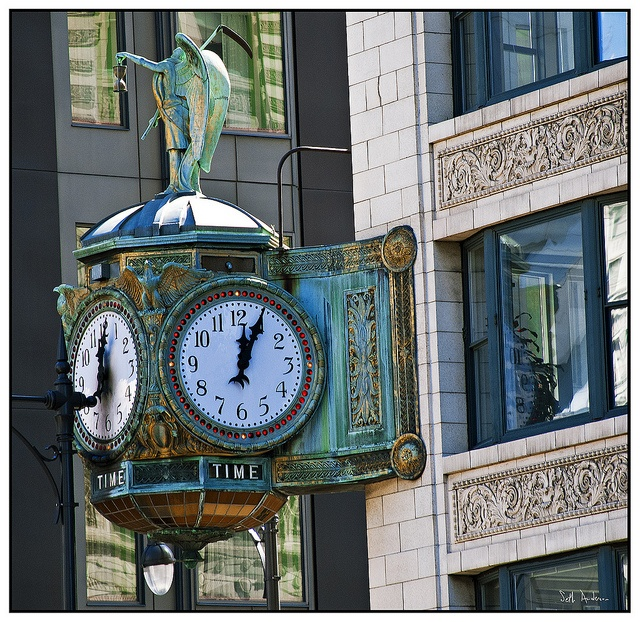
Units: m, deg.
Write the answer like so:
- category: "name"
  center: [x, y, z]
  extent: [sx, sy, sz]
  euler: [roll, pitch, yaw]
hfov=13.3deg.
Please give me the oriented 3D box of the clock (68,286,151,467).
- category: "clock"
  center: [-2.403, 0.790, 31.749]
  extent: [0.234, 2.182, 1.511]
  euler: [4, -9, -35]

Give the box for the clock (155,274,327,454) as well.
- category: "clock"
  center: [-0.984, 0.674, 31.489]
  extent: [1.508, 1.980, 0.226]
  euler: [3, -14, -14]
